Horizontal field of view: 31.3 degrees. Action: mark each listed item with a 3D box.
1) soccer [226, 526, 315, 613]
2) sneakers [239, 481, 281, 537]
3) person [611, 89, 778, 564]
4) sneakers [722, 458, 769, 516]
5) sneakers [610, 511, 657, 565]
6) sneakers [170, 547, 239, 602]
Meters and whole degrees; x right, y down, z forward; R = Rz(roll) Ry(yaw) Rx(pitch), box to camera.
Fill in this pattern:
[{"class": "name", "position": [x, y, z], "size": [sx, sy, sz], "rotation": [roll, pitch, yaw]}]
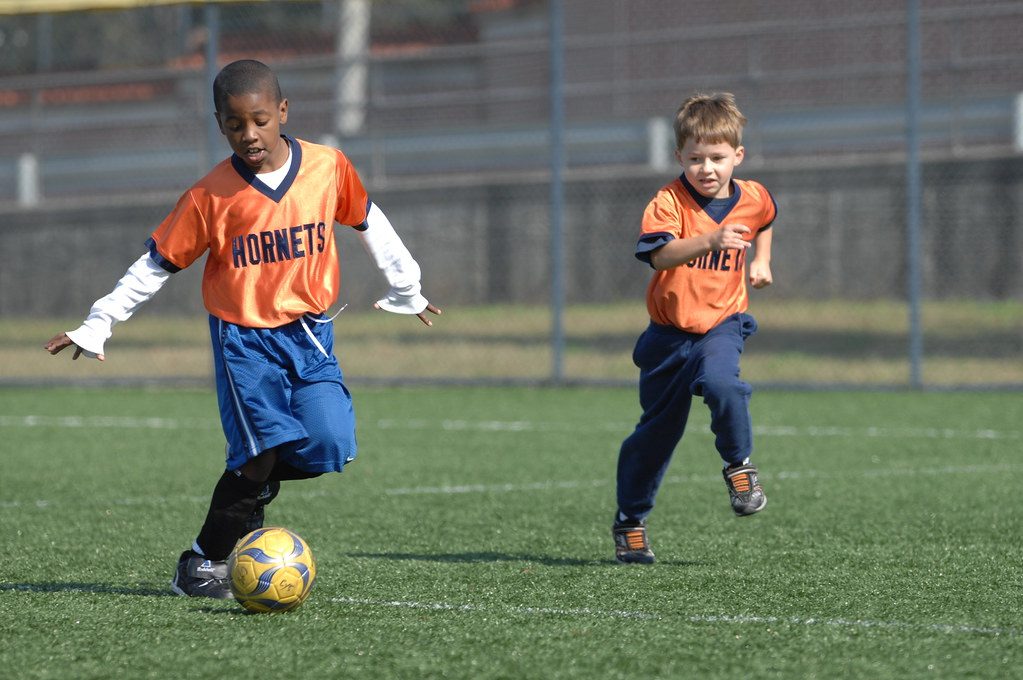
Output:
[{"class": "soccer", "position": [-1.277, 1.210, 10.122], "size": [0.433, 0.466, 0.417], "rotation": [-5, -1, 38]}, {"class": "sneakers", "position": [-1.455, 0.919, 10.323], "size": [0.127, 0.279, 0.284], "rotation": [-5, 47, -3]}, {"class": "person", "position": [1.019, -0.073, 10.514], "size": [0.924, 2.714, 0.747], "rotation": [-1, 2, 15]}, {"class": "sneakers", "position": [1.329, 0.796, 10.473], "size": [0.168, 0.189, 0.420], "rotation": [-21, 33, 14]}, {"class": "sneakers", "position": [0.707, 1.131, 10.658], "size": [0.309, 0.287, 0.102], "rotation": [-9, -3, -22]}, {"class": "sneakers", "position": [-1.736, 1.338, 10.253], "size": [0.212, 0.251, 0.597], "rotation": [17, -7, -42]}]
